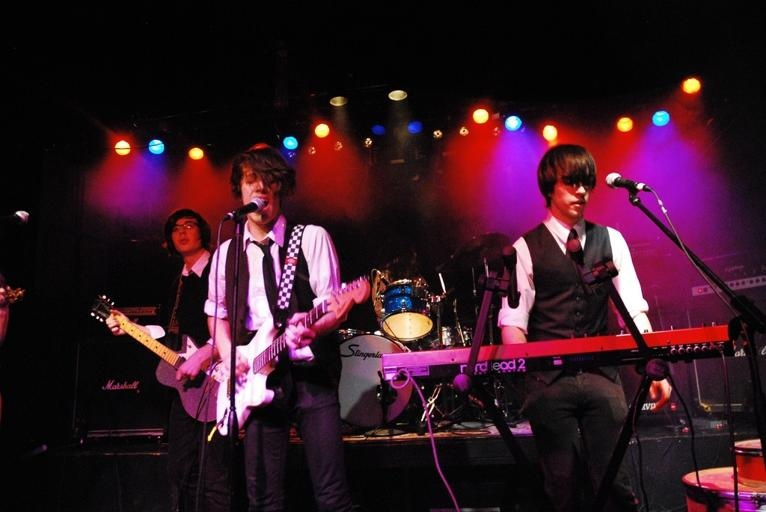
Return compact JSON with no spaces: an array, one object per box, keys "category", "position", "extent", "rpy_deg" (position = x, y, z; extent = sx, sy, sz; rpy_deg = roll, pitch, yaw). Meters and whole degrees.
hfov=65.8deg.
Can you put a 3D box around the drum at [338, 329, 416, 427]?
[{"category":"drum","position":[0.018,1.443,7.098],"extent":[0.937,1.033,0.969],"rpy_deg":[1,-6,4]}]

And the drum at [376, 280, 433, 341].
[{"category":"drum","position":[0.300,0.565,7.103],"extent":[0.671,0.502,0.690],"rpy_deg":[-3,-46,-3]}]

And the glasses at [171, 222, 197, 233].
[{"category":"glasses","position":[-2.214,-0.319,6.635],"extent":[0.141,0.045,0.151],"rpy_deg":[-6,-24,-3]}]

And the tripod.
[{"category":"tripod","position":[0.828,1.705,6.735],"extent":[0.753,0.517,0.683],"rpy_deg":[-6,-13,8]}]

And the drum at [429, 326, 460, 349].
[{"category":"drum","position":[0.746,0.977,7.090],"extent":[0.253,0.197,0.261],"rpy_deg":[-2,-6,0]}]
